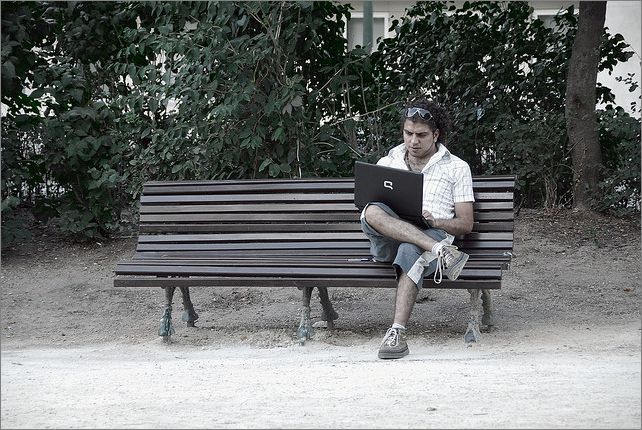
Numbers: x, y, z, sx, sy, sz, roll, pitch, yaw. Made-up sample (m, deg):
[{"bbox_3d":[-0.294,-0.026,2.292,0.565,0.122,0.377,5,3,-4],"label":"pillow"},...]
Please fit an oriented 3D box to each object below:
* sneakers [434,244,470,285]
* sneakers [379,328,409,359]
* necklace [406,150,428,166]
[{"bbox_3d":[1.008,0.366,4.566,0.208,0.441,0.147,14,43,2],"label":"sneakers"},{"bbox_3d":[0.546,0.970,4.442,0.226,0.212,0.172,-2,6,7],"label":"sneakers"},{"bbox_3d":[0.835,-0.485,5.083,0.133,0.123,0.033,6,-11,-1],"label":"necklace"}]
